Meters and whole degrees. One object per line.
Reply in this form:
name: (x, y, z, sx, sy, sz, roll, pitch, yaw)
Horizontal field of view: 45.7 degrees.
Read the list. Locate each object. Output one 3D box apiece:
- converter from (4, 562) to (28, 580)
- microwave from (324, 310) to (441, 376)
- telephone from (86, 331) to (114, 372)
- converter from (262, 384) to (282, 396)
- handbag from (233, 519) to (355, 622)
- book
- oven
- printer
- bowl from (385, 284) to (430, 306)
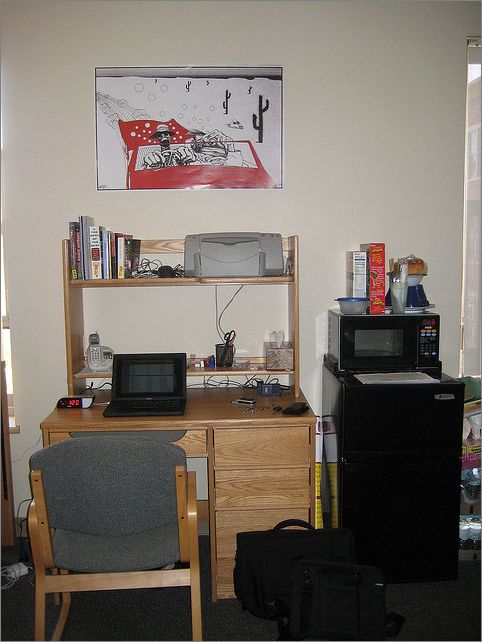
converter: (-0.995, 1.108, 2.527, 0.101, 0.037, 0.094, -3, 6, -22)
microwave: (0.623, 0.098, 2.442, 0.363, 0.239, 0.279, 0, -1, -2)
telephone: (-0.676, 0.140, 2.794, 0.151, 0.233, 0.163, 0, 7, -10)
converter: (0.142, 0.323, 2.664, 0.090, 0.063, 0.050, 1, 11, 8)
handbag: (0.194, 0.858, 2.110, 0.527, 0.398, 0.291, 0, -10, 0)
book: (-0.609, -0.328, 2.645, 0.259, 0.343, 0.357, 1, 11, 1)
oven: (0.684, 0.622, 2.578, 0.520, 0.869, 0.521, 0, 12, 10)
printer: (-0.034, -0.293, 2.559, 0.440, 0.197, 0.112, -1, 6, -6)
bowl: (0.758, -0.108, 2.593, 0.131, 0.083, 0.133, -2, 4, 0)
